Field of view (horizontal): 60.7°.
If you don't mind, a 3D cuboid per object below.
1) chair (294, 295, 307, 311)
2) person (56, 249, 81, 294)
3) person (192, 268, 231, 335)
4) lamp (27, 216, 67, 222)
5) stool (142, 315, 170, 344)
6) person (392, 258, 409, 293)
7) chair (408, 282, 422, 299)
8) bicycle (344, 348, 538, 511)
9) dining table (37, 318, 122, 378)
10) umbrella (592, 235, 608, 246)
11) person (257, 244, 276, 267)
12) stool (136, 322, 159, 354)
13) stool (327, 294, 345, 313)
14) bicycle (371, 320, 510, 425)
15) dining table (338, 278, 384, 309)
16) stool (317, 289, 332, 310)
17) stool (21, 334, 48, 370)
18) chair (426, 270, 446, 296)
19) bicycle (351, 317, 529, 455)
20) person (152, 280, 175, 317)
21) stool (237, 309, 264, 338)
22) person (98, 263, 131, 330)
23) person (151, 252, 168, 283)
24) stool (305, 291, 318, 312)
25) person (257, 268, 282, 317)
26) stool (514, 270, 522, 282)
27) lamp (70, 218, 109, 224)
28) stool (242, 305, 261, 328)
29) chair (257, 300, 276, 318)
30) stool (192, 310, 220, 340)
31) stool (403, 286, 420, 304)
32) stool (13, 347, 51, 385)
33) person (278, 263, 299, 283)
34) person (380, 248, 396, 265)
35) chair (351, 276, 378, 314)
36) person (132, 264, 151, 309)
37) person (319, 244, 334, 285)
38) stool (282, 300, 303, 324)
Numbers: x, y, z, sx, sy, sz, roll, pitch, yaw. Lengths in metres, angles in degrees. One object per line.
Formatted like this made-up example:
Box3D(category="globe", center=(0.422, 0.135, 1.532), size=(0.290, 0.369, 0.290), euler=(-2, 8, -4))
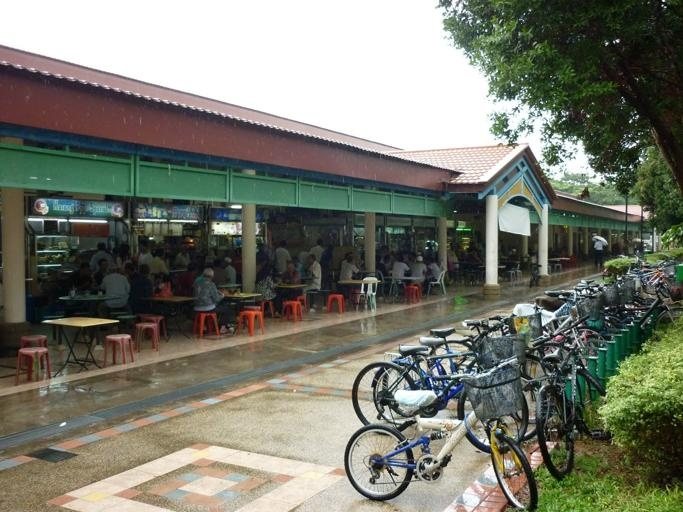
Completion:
Box3D(category="chair", center=(-1.144, 1.428, 17.806), size=(0.366, 0.397, 0.394), euler=(-4, -4, 36))
Box3D(category="person", center=(-7.246, 0.441, 15.502), size=(0.255, 1.104, 1.083), euler=(6, -5, -34))
Box3D(category="person", center=(-3.089, 1.045, 14.211), size=(0.899, 1.620, 1.563), euler=(-2, 5, -12))
Box3D(category="lamp", center=(-7.911, -0.997, 15.669), size=(0.086, 0.165, 1.083), euler=(3, 1, 43))
Box3D(category="stool", center=(-4.186, 1.655, 13.256), size=(0.559, 0.556, 0.585), euler=(-1, -4, 9))
Box3D(category="person", center=(2.227, 0.753, 22.080), size=(0.651, 1.363, 2.250), euler=(0, 5, 6))
Box3D(category="chair", center=(2.640, 1.298, 20.950), size=(0.509, 0.671, 0.526), euler=(-4, -7, 36))
Box3D(category="bicycle", center=(1.022, 1.863, 6.451), size=(2.147, 1.395, 1.144), euler=(-6, -3, 27))
Box3D(category="dining table", center=(-5.334, 1.880, 12.019), size=(1.172, 0.910, 0.965), euler=(-4, -5, 28))
Box3D(category="umbrella", center=(17.993, -1.071, 40.922), size=(1.353, 0.545, 1.419), euler=(1, 7, -17))
Box3D(category="person", center=(-2.665, 0.001, 20.754), size=(0.748, 0.572, 0.525), euler=(4, 7, 24))
Box3D(category="stool", center=(-4.199, 1.764, 12.561), size=(0.602, 0.741, 0.637), euler=(0, -4, -6))
Box3D(category="stool", center=(-0.134, 1.494, 18.277), size=(0.523, 0.544, 0.548), euler=(-1, -4, 21))
Box3D(category="bicycle", center=(1.152, 1.554, 7.570), size=(2.089, 1.368, 1.099), euler=(-7, -1, 28))
Box3D(category="dining table", center=(0.685, 1.195, 19.644), size=(1.075, 0.710, 1.110), euler=(6, 10, 41))
Box3D(category="stool", center=(-0.641, 1.545, 20.269), size=(0.567, 0.632, 0.589), euler=(0, -3, 7))
Box3D(category="stool", center=(-5.524, 1.699, 10.589), size=(0.468, 0.451, 0.491), euler=(2, -2, 19))
Box3D(category="chair", center=(3.690, 1.037, 22.534), size=(0.862, 1.202, 0.839), euler=(1, -1, -4))
Box3D(category="bicycle", center=(1.158, 1.542, 7.626), size=(2.412, 1.654, 1.246), euler=(-4, -1, 28))
Box3D(category="person", center=(-4.445, 1.091, 14.638), size=(0.400, 1.014, 2.710), euler=(-2, 5, -16))
Box3D(category="stool", center=(-2.211, 1.664, 14.449), size=(0.602, 0.602, 0.633), euler=(0, -2, 29))
Box3D(category="person", center=(-5.134, 0.875, 13.328), size=(0.682, 1.195, 1.760), euler=(-3, 6, -23))
Box3D(category="person", center=(-5.163, 0.284, 16.587), size=(0.455, 0.914, 0.843), euler=(-3, 6, -18))
Box3D(category="stool", center=(-1.013, 1.454, 18.949), size=(0.559, 0.602, 0.585), euler=(-1, -1, 19))
Box3D(category="person", center=(-2.105, 1.067, 16.586), size=(0.579, 1.378, 1.873), euler=(-2, 5, -8))
Box3D(category="stool", center=(8.766, 0.992, 29.210), size=(0.500, 0.647, 0.444), euler=(5, -8, -39))
Box3D(category="lamp", center=(-7.307, -1.000, 16.973), size=(0.193, 0.165, 1.432), euler=(1, 5, 17))
Box3D(category="stool", center=(-2.140, 1.477, 14.341), size=(0.482, 0.500, 0.502), euler=(0, -2, 32))
Box3D(category="chair", center=(-2.079, 1.541, 17.014), size=(0.476, 0.491, 0.498), euler=(0, 0, 14))
Box3D(category="stool", center=(-3.208, 1.671, 14.092), size=(0.630, 0.633, 0.657), euler=(-4, -7, 26))
Box3D(category="stool", center=(2.543, 1.343, 20.916), size=(0.518, 0.650, 0.537), euler=(-1, -3, 0))
Box3D(category="stool", center=(-5.244, 1.925, 10.092), size=(0.617, 0.609, 0.574), euler=(0, -4, -30))
Box3D(category="person", center=(-1.527, 0.476, 17.174), size=(0.586, 0.912, 0.553), euler=(0, 0, 23))
Box3D(category="person", center=(1.887, -0.008, 24.348), size=(0.672, 0.702, 0.690), euler=(3, -5, -37))
Box3D(category="chair", center=(0.773, 1.203, 19.203), size=(0.769, 1.085, 0.738), euler=(4, 2, 17))
Box3D(category="person", center=(-4.633, 0.762, 13.552), size=(0.501, 1.085, 0.489), euler=(-3, 6, -20))
Box3D(category="person", center=(-0.530, 0.391, 21.231), size=(0.438, 1.500, 0.627), euler=(-2, 5, -13))
Box3D(category="stool", center=(-1.394, 1.543, 16.312), size=(0.553, 0.578, 0.566), euler=(-1, -5, 13))
